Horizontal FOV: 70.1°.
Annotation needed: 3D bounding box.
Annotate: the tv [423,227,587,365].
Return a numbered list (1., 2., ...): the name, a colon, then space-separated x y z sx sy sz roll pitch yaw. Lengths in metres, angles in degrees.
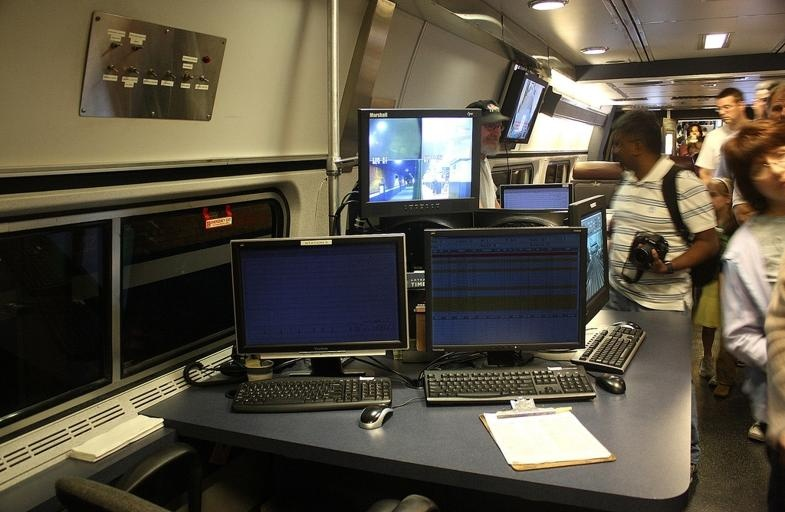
1. tv: 0.562 0.168 2.757 0.733 0.518 0.081 0 3 0

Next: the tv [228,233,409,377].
1. tv: -0.356 0.237 2.757 0.775 0.585 0.198 -1 3 1

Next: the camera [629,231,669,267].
1. camera: 1.560 -0.055 3.421 0.226 0.207 0.211 6 8 43

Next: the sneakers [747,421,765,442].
1. sneakers: 2.485 1.199 3.809 0.058 0.070 0.169 0 -4 16

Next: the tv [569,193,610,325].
1. tv: 1.063 0.029 3.017 0.085 0.797 0.723 3 9 31

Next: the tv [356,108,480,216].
1. tv: 0.142 -0.557 3.250 0.663 0.523 0.085 -1 2 -6

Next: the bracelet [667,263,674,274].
1. bracelet: 1.724 0.080 3.476 0.041 0.060 0.059 -6 3 -10

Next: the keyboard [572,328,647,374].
1. keyboard: 1.183 0.493 3.038 0.174 0.063 0.453 7 19 34

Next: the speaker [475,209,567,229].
1. speaker: 0.757 -0.204 3.291 0.547 0.126 0.242 3 16 9

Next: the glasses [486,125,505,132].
1. glasses: 0.761 -0.969 4.213 0.088 0.024 0.085 -2 6 -17
